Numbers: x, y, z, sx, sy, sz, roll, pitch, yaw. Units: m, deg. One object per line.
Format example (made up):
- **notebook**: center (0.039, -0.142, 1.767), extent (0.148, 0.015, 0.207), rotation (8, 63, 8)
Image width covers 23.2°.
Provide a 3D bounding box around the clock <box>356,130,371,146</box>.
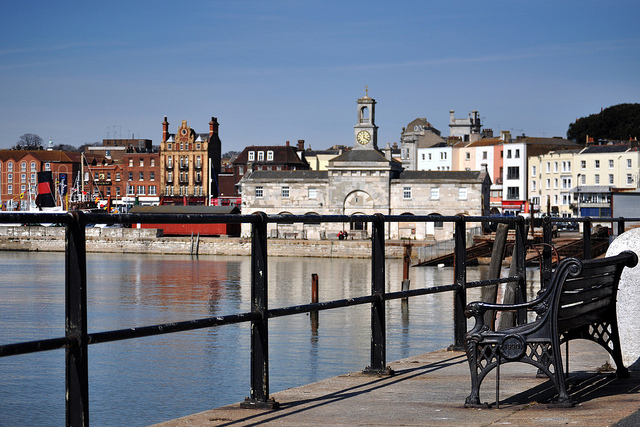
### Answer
- **clock**: center (4.299, -7.128, 153.244), extent (1.642, 1.516, 0.074), rotation (-2, -1, 8)
